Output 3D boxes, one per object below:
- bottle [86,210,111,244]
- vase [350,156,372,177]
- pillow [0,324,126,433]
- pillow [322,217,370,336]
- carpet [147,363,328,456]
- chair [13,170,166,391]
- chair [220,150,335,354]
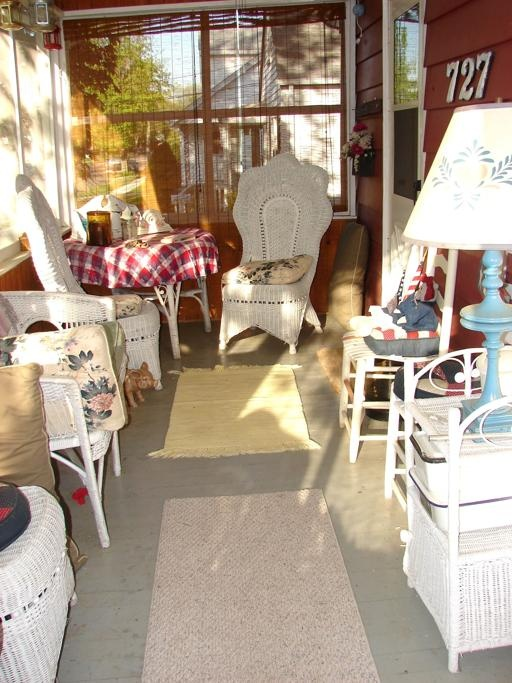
[{"bbox_3d":[-1.114,-0.804,3.699,0.220,0.236,0.208,6,8,16],"label":"bottle"},{"bbox_3d":[0.827,-1.376,4.108,0.148,0.192,0.143,6,16,11],"label":"vase"},{"bbox_3d":[-0.559,0.130,1.594,0.341,0.337,0.206,-5,26,-5],"label":"pillow"},{"bbox_3d":[0.781,-0.532,4.448,0.250,0.813,0.852,2,0,-7],"label":"pillow"},{"bbox_3d":[-0.111,0.395,3.011,0.833,0.101,1.050,-3,12,0],"label":"carpet"},{"bbox_3d":[-0.958,-0.470,3.108,0.575,0.911,0.479,-10,23,-25],"label":"chair"},{"bbox_3d":[0.136,-0.711,4.061,0.876,1.509,0.844,-1,13,11],"label":"chair"}]
